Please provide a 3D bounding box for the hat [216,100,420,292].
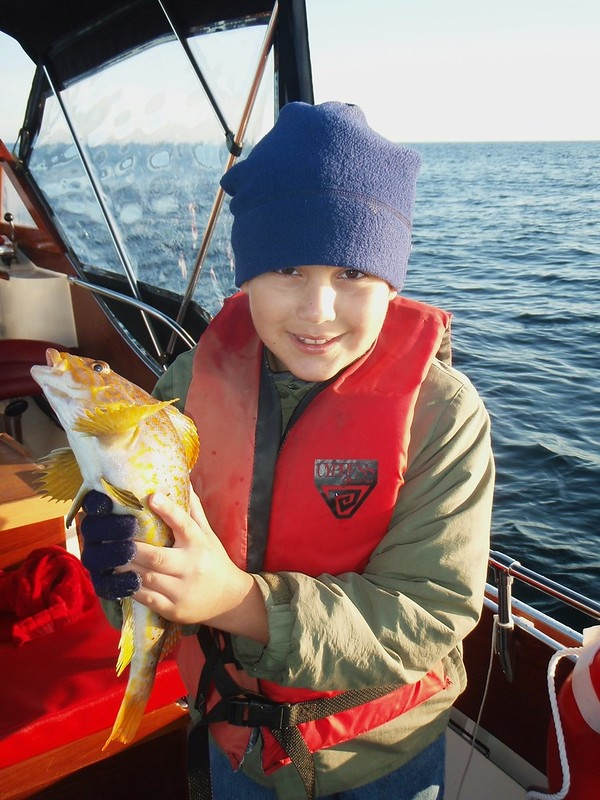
[{"bbox_3d":[0.013,-0.414,1.303,0.431,0.343,0.306,4,14,8],"label":"hat"}]
